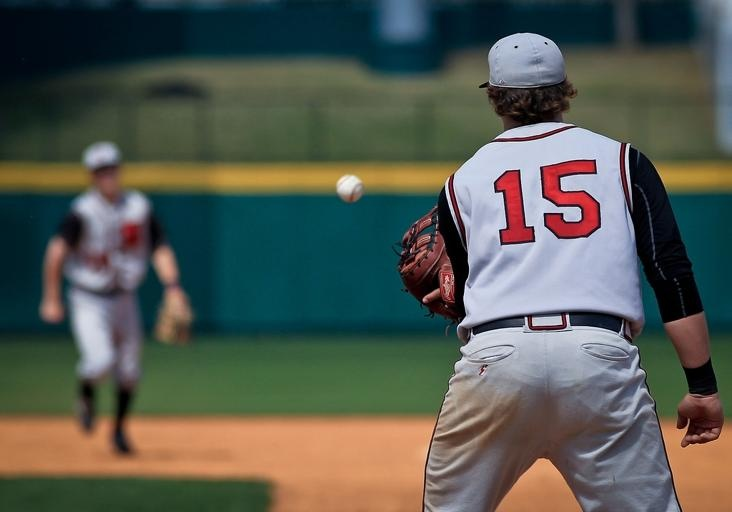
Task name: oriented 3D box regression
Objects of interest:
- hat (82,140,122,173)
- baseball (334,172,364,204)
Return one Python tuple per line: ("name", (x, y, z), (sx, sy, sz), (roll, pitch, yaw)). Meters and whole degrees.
("hat", (-1.771, -0.681, 8.477), (0.281, 0.134, 0.253), (-9, 6, -42))
("baseball", (-0.116, -0.491, 9.088), (0.167, 0.184, 0.206), (-1, 9, 3))
